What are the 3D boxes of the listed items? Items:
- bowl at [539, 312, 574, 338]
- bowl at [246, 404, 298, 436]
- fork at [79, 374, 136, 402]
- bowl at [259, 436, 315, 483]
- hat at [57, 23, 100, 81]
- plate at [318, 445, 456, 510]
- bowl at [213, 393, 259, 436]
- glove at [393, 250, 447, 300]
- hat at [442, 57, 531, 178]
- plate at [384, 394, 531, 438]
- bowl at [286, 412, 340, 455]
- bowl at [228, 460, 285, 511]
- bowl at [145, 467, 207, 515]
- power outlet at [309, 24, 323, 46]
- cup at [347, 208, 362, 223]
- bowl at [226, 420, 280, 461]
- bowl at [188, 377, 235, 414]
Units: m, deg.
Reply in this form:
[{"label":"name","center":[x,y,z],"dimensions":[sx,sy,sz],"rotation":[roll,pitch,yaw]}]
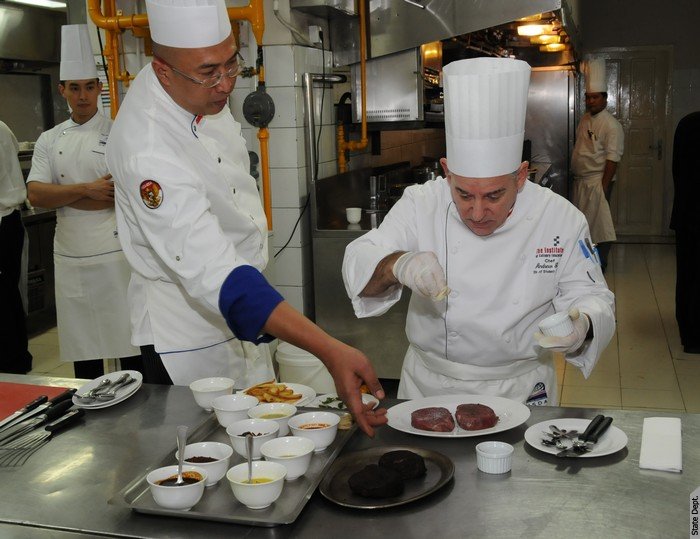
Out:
[{"label":"bowl","center":[0.556,0.145,1.388],"dimensions":[0.095,0.056,0.054],"rotation":[-8,12,-25]},{"label":"bowl","center":[-0.208,0.394,1.391],"dimensions":[0.076,0.039,0.076],"rotation":[1,8,0]},{"label":"fork","center":[-0.779,0.378,1.648],"dimensions":[0.058,0.022,0.120],"rotation":[4,16,16]},{"label":"bowl","center":[-0.137,0.414,1.163],"dimensions":[0.079,0.048,0.083],"rotation":[0,4,0]},{"label":"hat","center":[-1.824,-1.416,3.343],"dimensions":[0.235,0.345,0.246],"rotation":[6,4,24]},{"label":"plate","center":[0.073,0.454,1.152],"dimensions":[0.272,0.039,0.309],"rotation":[-7,2,29]},{"label":"bowl","center":[-0.324,0.390,1.428],"dimensions":[0.086,0.053,0.089],"rotation":[-2,16,1]},{"label":"glove","center":[0.218,0.002,1.468],"dimensions":[0.120,0.069,0.171],"rotation":[7,33,-6]},{"label":"hat","center":[0.346,-0.472,1.669],"dimensions":[0.308,0.402,0.343],"rotation":[-1,13,4]},{"label":"plate","center":[0.302,0.375,1.403],"dimensions":[0.319,0.041,0.341],"rotation":[-18,-12,39]},{"label":"bowl","center":[-0.085,0.414,1.303],"dimensions":[0.116,0.073,0.121],"rotation":[-3,4,0]},{"label":"bowl","center":[-0.190,0.459,1.066],"dimensions":[0.125,0.076,0.125],"rotation":[-3,-16,-1]},{"label":"bowl","center":[-0.359,0.460,1.078],"dimensions":[0.110,0.064,0.116],"rotation":[5,-2,0]},{"label":"power outlet","center":[-0.277,-1.798,3.978],"dimensions":[0.127,0.181,0.126],"rotation":[0,10,6]},{"label":"cup","center":[0.027,-0.417,4.041],"dimensions":[0.106,0.093,0.112],"rotation":[-4,12,1]},{"label":"bowl","center":[-0.246,0.402,1.274],"dimensions":[0.100,0.054,0.098],"rotation":[2,14,0]},{"label":"bowl","center":[-0.427,0.388,1.551],"dimensions":[0.096,0.058,0.095],"rotation":[0,-7,0]}]
